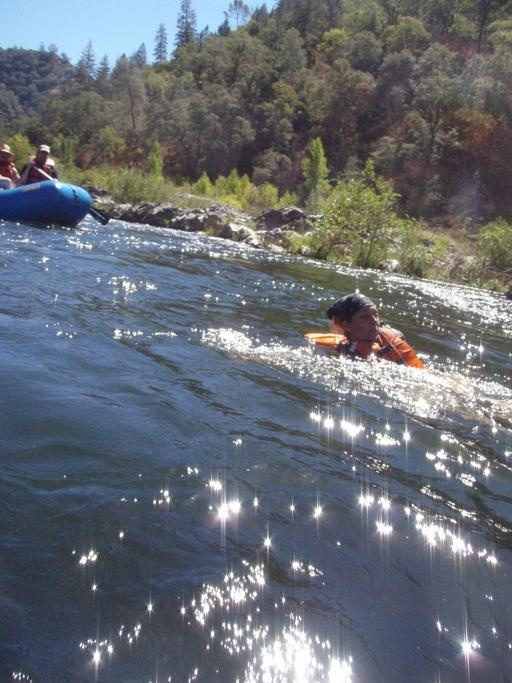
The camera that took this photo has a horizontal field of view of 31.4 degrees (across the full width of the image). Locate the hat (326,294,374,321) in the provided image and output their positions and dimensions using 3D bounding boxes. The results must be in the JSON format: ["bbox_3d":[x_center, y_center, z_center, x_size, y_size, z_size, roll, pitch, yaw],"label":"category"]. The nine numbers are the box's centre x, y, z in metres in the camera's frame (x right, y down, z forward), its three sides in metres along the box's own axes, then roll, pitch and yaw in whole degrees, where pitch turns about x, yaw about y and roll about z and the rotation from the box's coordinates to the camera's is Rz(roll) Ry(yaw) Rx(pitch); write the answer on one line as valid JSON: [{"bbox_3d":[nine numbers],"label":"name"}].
[{"bbox_3d":[0.587,-0.210,5.659,0.230,0.143,0.177,-13,7,41],"label":"hat"}]

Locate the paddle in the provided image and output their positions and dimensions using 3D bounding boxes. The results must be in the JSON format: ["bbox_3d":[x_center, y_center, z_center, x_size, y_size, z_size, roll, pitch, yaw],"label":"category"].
[{"bbox_3d":[-2.961,-2.405,14.879,2.396,0.337,0.264,39,21,32],"label":"paddle"}]
